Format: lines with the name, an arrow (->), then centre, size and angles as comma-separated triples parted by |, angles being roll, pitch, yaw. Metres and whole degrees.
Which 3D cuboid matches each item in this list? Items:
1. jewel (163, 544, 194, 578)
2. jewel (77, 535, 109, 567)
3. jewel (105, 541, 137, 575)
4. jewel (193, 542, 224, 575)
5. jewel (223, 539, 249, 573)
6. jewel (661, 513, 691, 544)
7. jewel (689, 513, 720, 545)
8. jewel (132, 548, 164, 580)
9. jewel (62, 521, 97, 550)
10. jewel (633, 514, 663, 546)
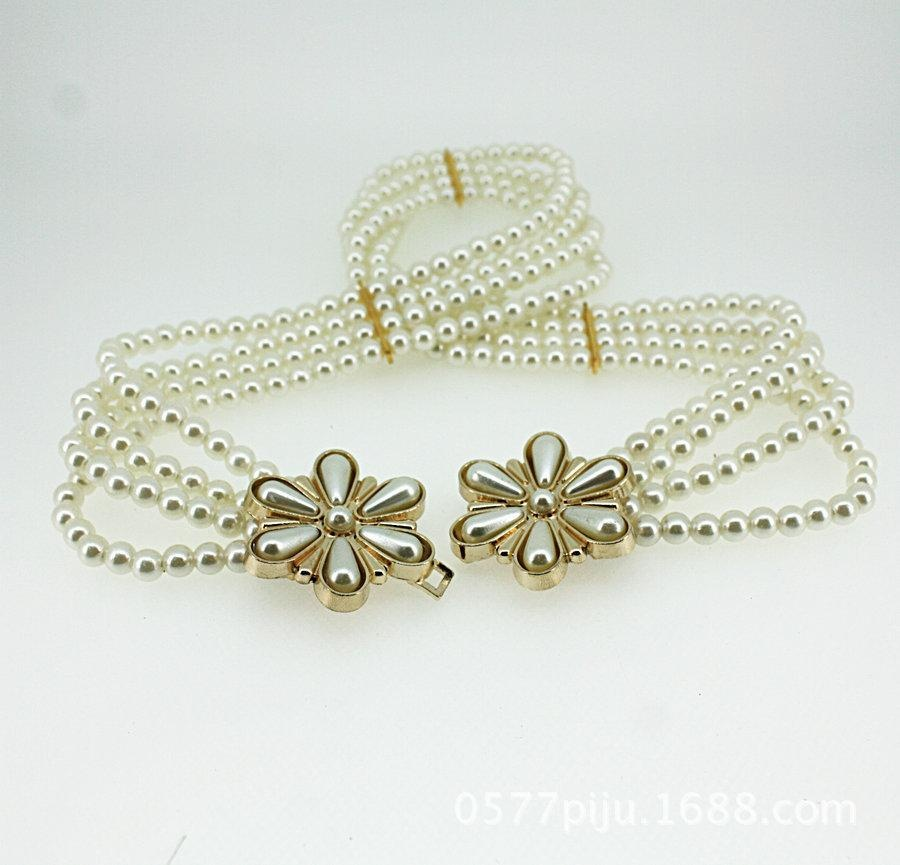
jewel -> -0.530, 0.254, 2.449 | 0.049, 0.071, 0.054 | 0, 3, 6
jewel -> -0.699, 0.233, 2.445 | 0.047, 0.072, 0.053 | 0, 1, 2
jewel -> -0.645, 0.247, 2.445 | 0.046, 0.069, 0.053 | 1, -2, 4
jewel -> -0.474, 0.245, 2.461 | 0.058, 0.060, 0.052 | -32, -41, 33
jewel -> -0.419, 0.243, 2.447 | 0.046, 0.067, 0.051 | 1, 3, 9
jewel -> 0.451, 0.193, 2.483 | 0.047, 0.069, 0.053 | 1, 1, 5
jewel -> 0.507, 0.192, 2.484 | 0.049, 0.071, 0.055 | 0, 1, 6
jewel -> -0.591, 0.263, 2.442 | 0.049, 0.069, 0.051 | 3, 7, 40
jewel -> -0.732, 0.202, 2.457 | 0.046, 0.066, 0.037 | -18, -26, -14
jewel -> 0.395, 0.197, 2.487 | 0.047, 0.068, 0.052 | 1, 4, 5
